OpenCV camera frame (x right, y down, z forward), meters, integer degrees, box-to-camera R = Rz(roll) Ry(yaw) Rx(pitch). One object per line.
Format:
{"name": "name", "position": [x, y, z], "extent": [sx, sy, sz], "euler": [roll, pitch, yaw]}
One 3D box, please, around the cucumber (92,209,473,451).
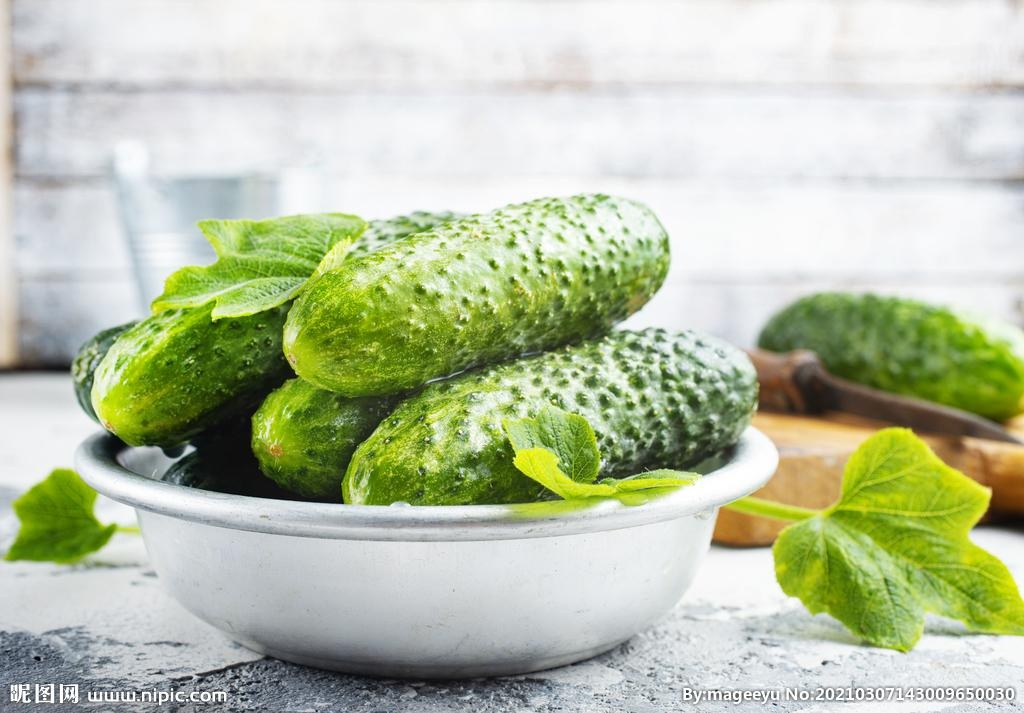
{"name": "cucumber", "position": [-0.221, -0.050, 1.042], "extent": [0.427, 0.107, 0.128], "euler": [-21, 10, -12]}

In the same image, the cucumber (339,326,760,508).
{"name": "cucumber", "position": [0.045, 0.076, 1.030], "extent": [0.352, 0.107, 0.126], "euler": [-11, 50, -22]}

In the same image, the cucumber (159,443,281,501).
{"name": "cucumber", "position": [-0.249, 0.102, 1.017], "extent": [0.100, 0.027, 0.043], "euler": [10, 16, -3]}

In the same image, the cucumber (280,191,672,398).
{"name": "cucumber", "position": [-0.019, -0.055, 0.997], "extent": [0.335, 0.166, 0.071], "euler": [-4, 15, -31]}

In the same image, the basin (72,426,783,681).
{"name": "basin", "position": [-0.082, 0.153, 0.995], "extent": [0.576, 0.184, 0.242], "euler": [4, 11, 9]}
